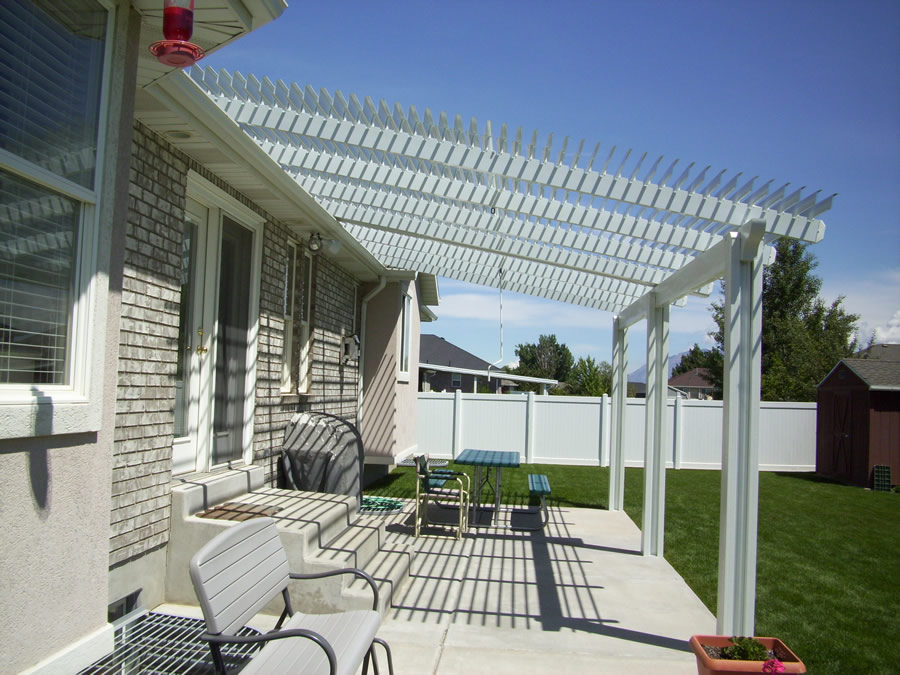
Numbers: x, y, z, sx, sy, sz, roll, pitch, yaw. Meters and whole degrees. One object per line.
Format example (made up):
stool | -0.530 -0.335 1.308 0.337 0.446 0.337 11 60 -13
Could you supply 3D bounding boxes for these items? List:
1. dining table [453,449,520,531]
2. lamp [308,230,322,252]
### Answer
dining table | 0.512 2.122 9.299 0.918 1.085 0.990 0 -5 8
lamp | -1.772 -1.268 8.816 0.147 0.259 0.075 -1 16 -17
